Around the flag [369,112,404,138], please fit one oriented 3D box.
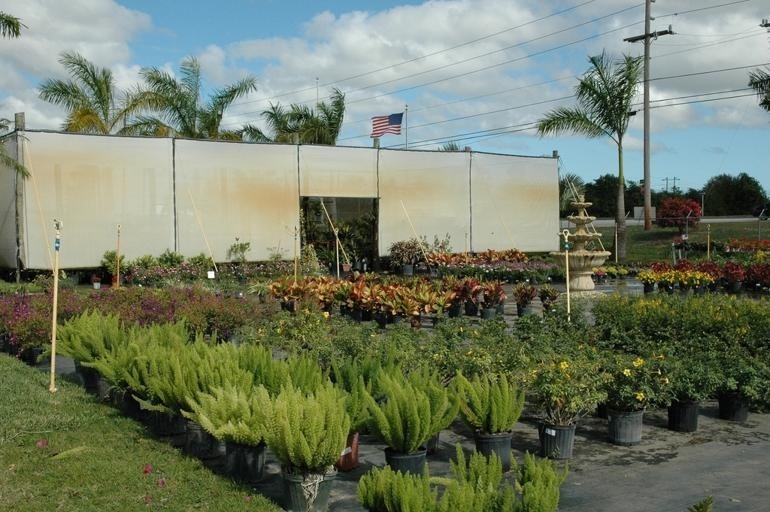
[{"bbox_3d":[0.087,-5.366,34.400,1.155,1.135,2.022,0,-1,-2],"label":"flag"}]
